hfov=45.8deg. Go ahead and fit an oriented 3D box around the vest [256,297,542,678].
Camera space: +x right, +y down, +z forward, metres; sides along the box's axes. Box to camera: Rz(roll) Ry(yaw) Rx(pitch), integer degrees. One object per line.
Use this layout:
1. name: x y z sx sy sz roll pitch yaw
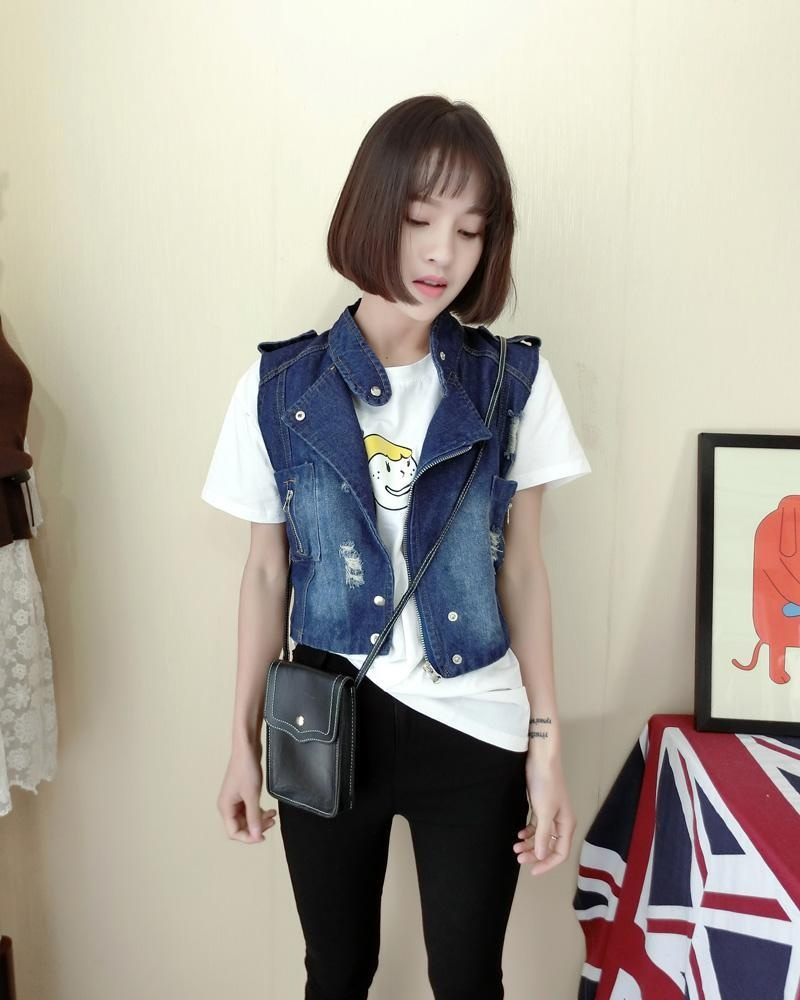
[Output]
1. vest: 0.002 -0.003 1.345 0.462 0.683 0.325 0 2 -7
